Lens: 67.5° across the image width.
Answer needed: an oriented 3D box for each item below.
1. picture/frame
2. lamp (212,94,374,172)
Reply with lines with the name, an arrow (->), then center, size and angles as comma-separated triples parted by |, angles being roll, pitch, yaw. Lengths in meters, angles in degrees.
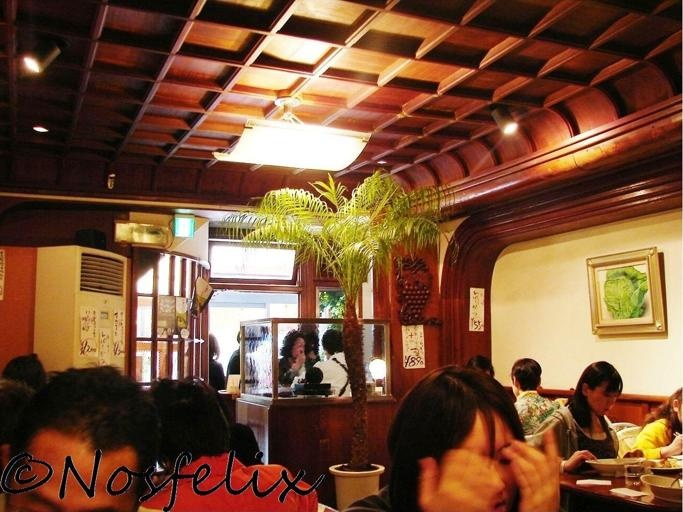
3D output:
picture/frame -> 2.803, 0.388, 5.042 | 0.136, 0.822, 0.798 | 4, -12, -22
lamp -> -0.403, -0.946, 4.397 | 1.126, 0.204, 0.688 | 4, -12, -24
